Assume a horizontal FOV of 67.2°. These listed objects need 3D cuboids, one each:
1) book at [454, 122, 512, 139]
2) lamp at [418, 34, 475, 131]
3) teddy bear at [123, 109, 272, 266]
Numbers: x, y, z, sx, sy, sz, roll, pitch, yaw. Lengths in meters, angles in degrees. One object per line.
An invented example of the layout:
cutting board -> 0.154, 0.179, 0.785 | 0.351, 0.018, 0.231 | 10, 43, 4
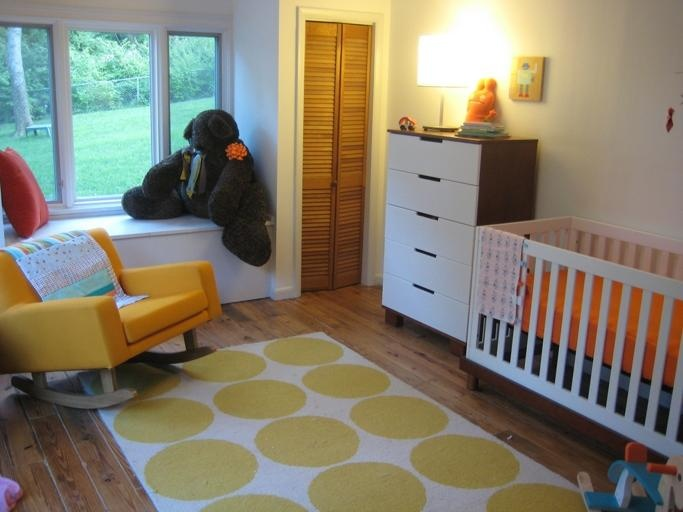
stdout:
book -> 0.889, -0.795, 3.258 | 0.308, 0.085, 0.194 | 9, 22, 20
lamp -> 0.749, -1.243, 3.693 | 0.351, 0.626, 0.456 | 13, 23, 29
teddy bear -> -1.108, -0.667, 4.233 | 1.292, 1.073, 0.818 | 14, 29, 23
